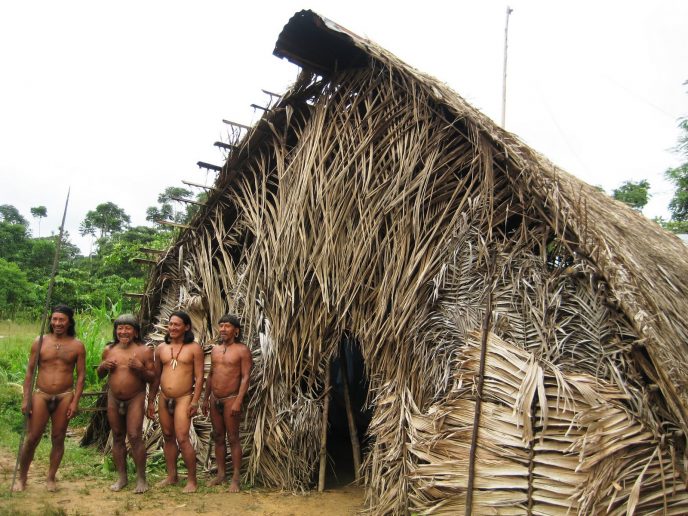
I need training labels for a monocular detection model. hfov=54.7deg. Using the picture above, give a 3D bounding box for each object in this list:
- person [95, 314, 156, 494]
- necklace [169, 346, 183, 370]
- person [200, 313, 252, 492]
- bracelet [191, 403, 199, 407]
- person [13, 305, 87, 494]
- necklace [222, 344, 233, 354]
[{"bbox_3d":[-2.656,1.766,8.101,0.699,2.055,0.921,5,-19,-7],"label":"person"},{"bbox_3d":[-2.070,1.251,8.176,0.088,0.251,0.010,15,-15,5],"label":"necklace"},{"bbox_3d":[-1.466,1.817,8.369,0.521,2.101,0.633,8,-20,-15],"label":"person"},{"bbox_3d":[-1.823,1.804,8.163,0.055,0.057,0.042,-6,15,1],"label":"bracelet"},{"bbox_3d":[-3.436,1.637,7.829,0.654,2.082,0.995,10,-20,-20],"label":"person"},{"bbox_3d":[-1.478,1.146,8.391,0.094,0.100,0.029,-15,-16,37],"label":"necklace"}]
